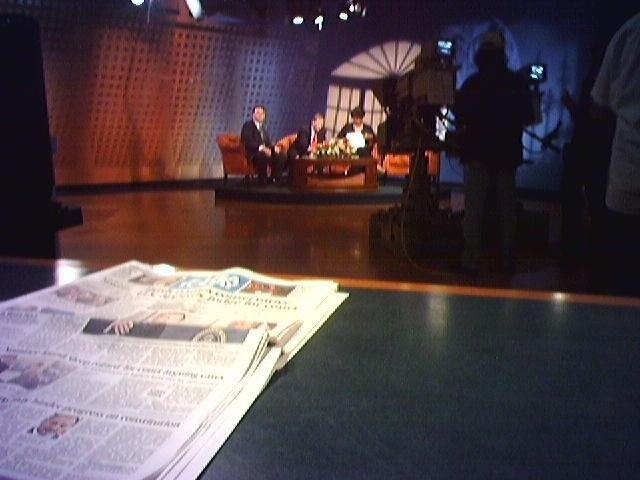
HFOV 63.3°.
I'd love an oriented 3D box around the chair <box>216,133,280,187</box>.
[{"bbox_3d":[-0.225,-0.227,1.446,0.121,0.128,0.125,-5,5,-5],"label":"chair"}]
